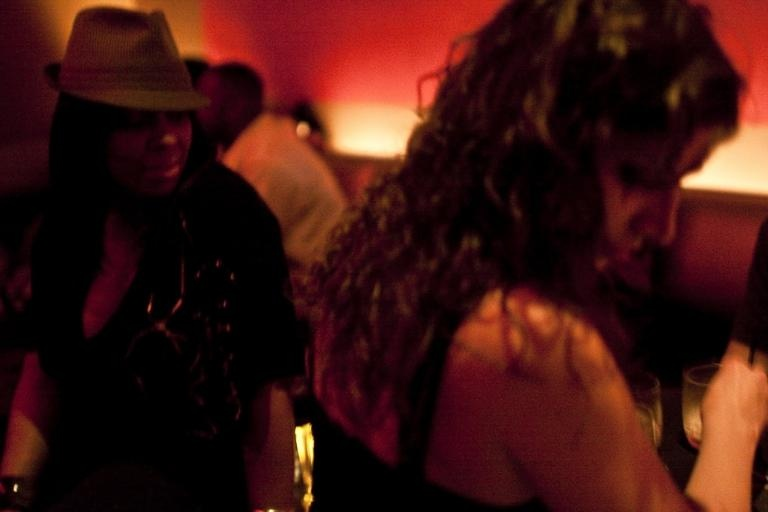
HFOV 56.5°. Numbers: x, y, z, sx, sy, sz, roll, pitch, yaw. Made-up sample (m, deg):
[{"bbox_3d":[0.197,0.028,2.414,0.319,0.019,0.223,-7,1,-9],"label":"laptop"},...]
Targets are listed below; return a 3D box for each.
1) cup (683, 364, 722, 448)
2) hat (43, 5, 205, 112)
[{"bbox_3d":[0.770,0.358,1.779,0.087,0.261,0.106,0,-1,41],"label":"cup"},{"bbox_3d":[-0.694,-0.510,1.961,0.336,0.176,0.289,2,3,41],"label":"hat"}]
